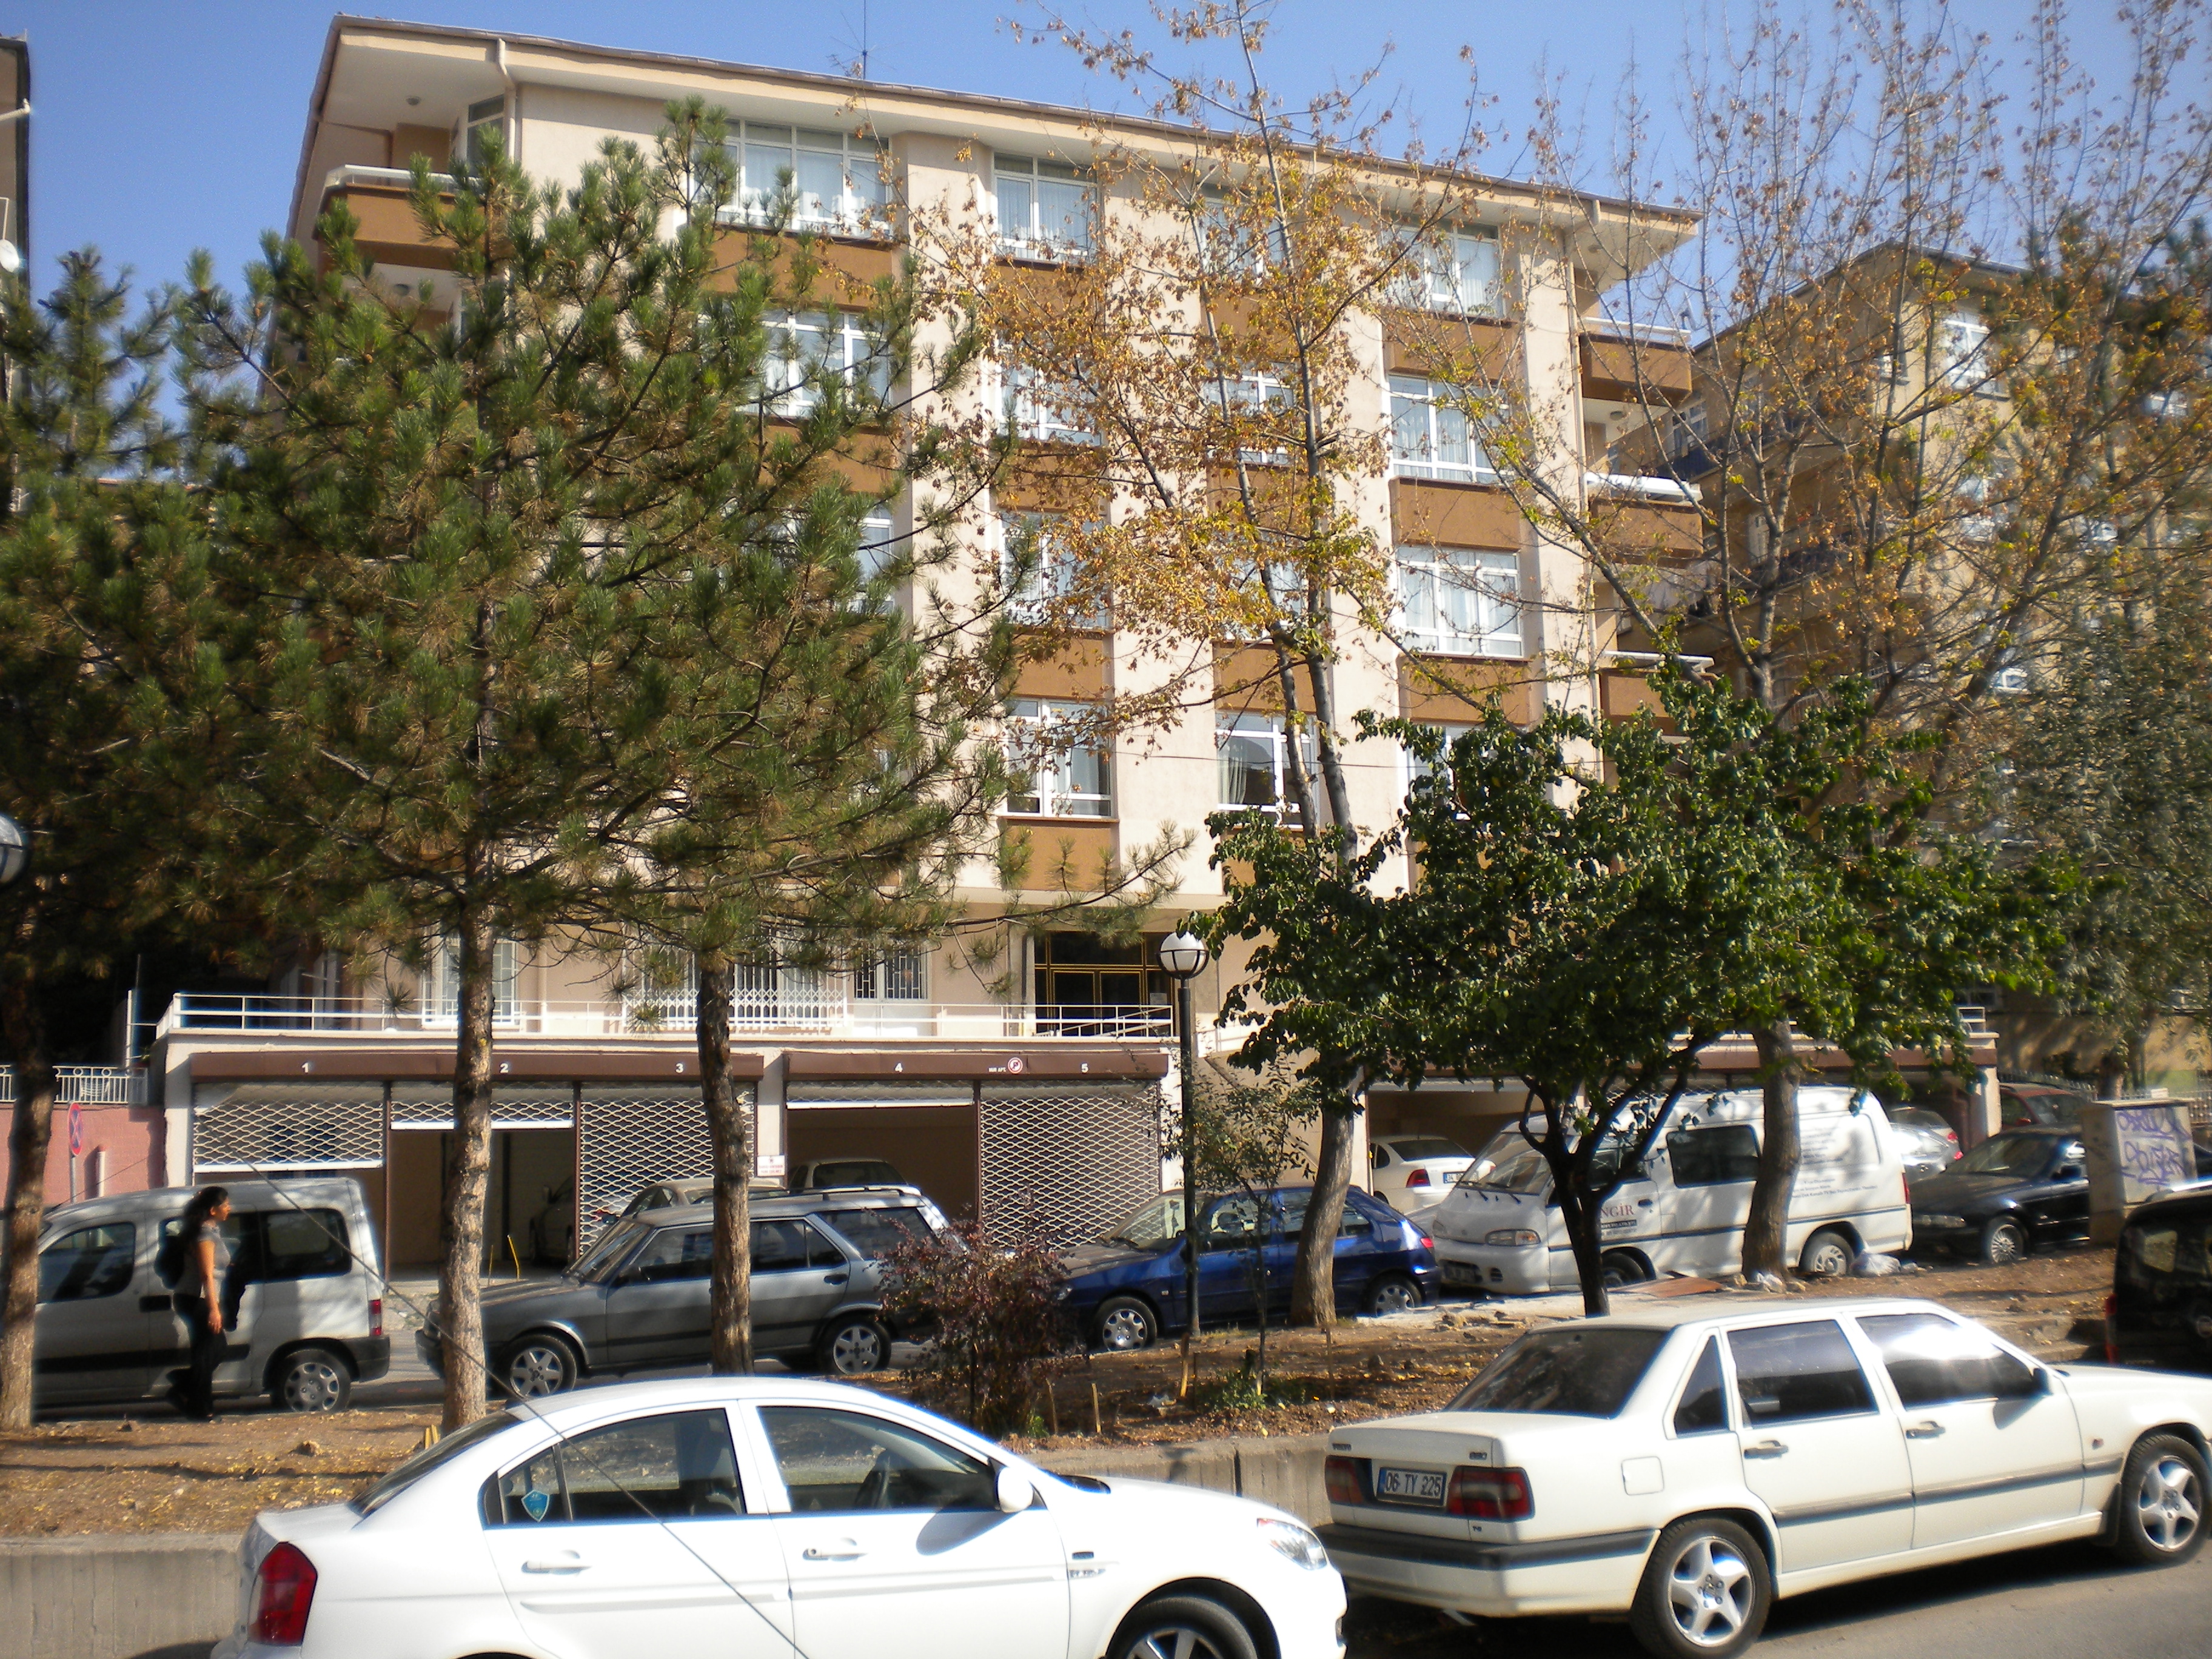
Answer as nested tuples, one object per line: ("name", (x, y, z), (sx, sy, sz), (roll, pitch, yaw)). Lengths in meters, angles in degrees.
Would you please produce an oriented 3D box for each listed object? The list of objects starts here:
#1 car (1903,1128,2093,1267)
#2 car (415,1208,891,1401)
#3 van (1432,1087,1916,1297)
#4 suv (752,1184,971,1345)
("car", (10.613, 4.279, 29.293), (2.002, 1.564, 1.883), (1, -9, -12))
("car", (-4.389, 4.591, 24.145), (4.098, 1.739, 2.042), (2, -8, -16))
("van", (6.348, 4.228, 28.342), (4.706, 2.516, 2.816), (1, -9, -17))
("suv", (-2.337, 4.159, 23.350), (2.183, 1.477, 1.401), (-2, 0, -11))
